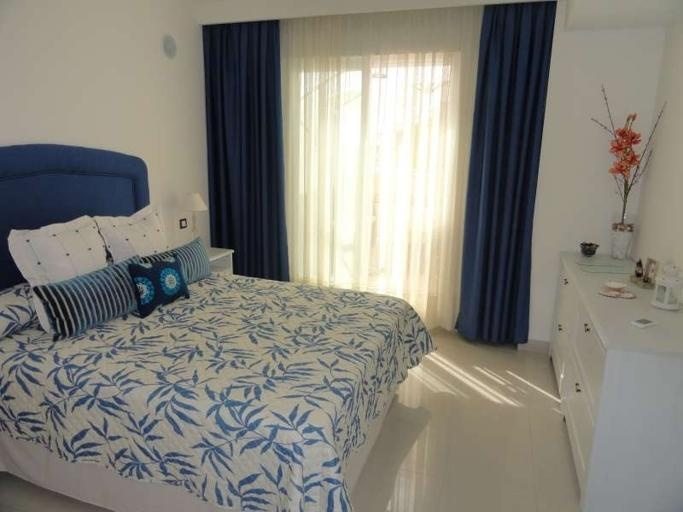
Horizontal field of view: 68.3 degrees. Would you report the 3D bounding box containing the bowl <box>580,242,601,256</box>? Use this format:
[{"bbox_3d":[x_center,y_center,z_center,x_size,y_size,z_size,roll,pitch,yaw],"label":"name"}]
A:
[{"bbox_3d":[2.010,-0.055,4.074,0.108,0.105,0.119,2,2,9],"label":"bowl"}]

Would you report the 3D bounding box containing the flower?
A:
[{"bbox_3d":[2.222,-0.777,3.986,0.449,1.081,0.581,5,19,16],"label":"flower"}]

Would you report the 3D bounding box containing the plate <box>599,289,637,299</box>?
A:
[{"bbox_3d":[1.783,0.247,3.266,0.096,0.020,0.097,-6,21,-39],"label":"plate"}]

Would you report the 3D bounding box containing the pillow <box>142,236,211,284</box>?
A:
[{"bbox_3d":[-1.237,0.090,3.855,0.168,0.320,0.543,-10,12,33],"label":"pillow"}]

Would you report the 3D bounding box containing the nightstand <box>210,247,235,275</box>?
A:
[{"bbox_3d":[-1.190,0.055,4.889,0.189,0.284,0.264,10,20,24],"label":"nightstand"}]

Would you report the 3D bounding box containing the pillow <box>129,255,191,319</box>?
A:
[{"bbox_3d":[-1.240,0.191,3.500,0.147,0.400,0.449,2,13,24],"label":"pillow"}]

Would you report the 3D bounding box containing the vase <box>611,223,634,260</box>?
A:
[{"bbox_3d":[2.247,-0.128,4.058,0.158,0.279,0.154,-1,5,-45],"label":"vase"}]
